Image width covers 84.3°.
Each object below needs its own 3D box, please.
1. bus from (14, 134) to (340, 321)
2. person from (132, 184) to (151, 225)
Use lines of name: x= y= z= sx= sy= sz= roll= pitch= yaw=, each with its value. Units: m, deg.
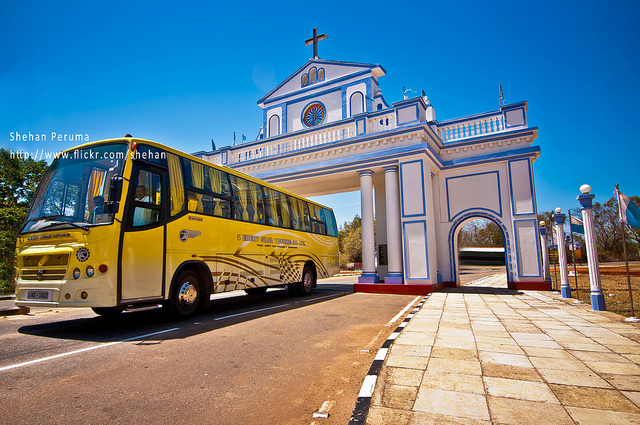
bus: x=-3.081 y=0.901 z=13.307 sx=2.920 sy=5.289 sz=12.772 roll=-2 pitch=-3 yaw=33
person: x=-4.494 y=-0.172 z=8.805 sx=0.147 sy=0.997 sz=0.470 roll=-1 pitch=-2 yaw=23
